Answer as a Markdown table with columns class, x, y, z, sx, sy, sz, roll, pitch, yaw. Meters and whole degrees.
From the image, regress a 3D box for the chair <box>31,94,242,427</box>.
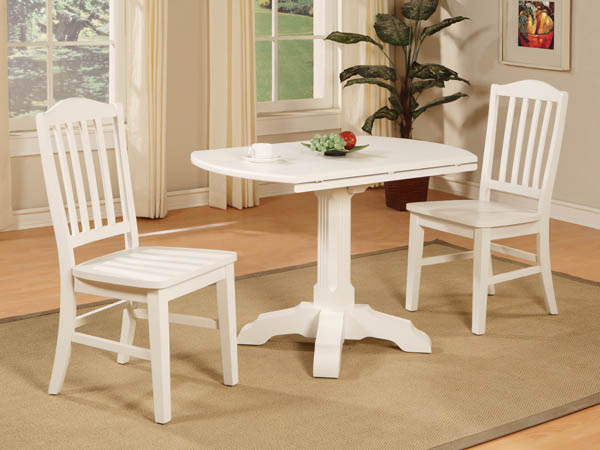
| class | x | y | z | sx | sy | sz | roll | pitch | yaw |
| --- | --- | --- | --- | --- | --- | --- | --- | --- | --- |
| chair | -0.639 | 0.087 | 2.004 | 0.692 | 1.092 | 0.547 | 11 | 20 | 32 |

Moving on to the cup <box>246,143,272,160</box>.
| class | x | y | z | sx | sy | sz | roll | pitch | yaw |
| --- | --- | --- | --- | --- | --- | --- | --- | --- | --- |
| cup | -0.162 | -0.302 | 2.198 | 0.111 | 0.044 | 0.070 | -4 | 16 | -7 |

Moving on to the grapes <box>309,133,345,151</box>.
| class | x | y | z | sx | sy | sz | roll | pitch | yaw |
| --- | --- | --- | --- | --- | --- | --- | --- | --- | --- |
| grapes | 0.112 | -0.356 | 2.310 | 0.126 | 0.047 | 0.082 | 0 | 14 | -1 |
